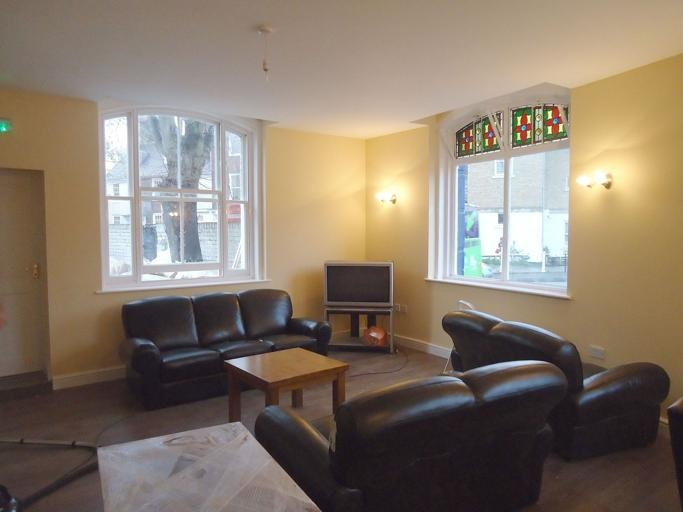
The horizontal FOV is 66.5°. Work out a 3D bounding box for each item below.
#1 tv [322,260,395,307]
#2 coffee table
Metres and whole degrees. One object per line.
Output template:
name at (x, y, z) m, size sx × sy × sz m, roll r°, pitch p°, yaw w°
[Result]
tv at (0.235, 0.385, 6.901) m, size 0.985 × 0.722 × 0.547 m, roll 1°, pitch 1°, yaw 6°
coffee table at (-0.445, 1.285, 4.845) m, size 1.021 × 0.595 × 1.057 m, roll -3°, pitch 4°, yaw -4°
